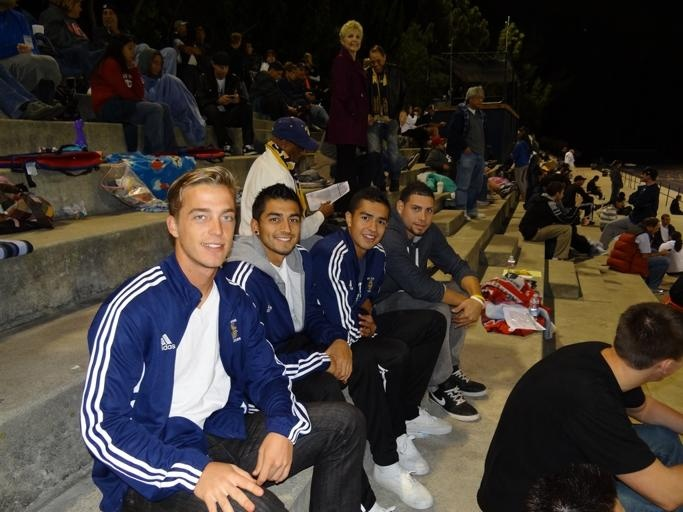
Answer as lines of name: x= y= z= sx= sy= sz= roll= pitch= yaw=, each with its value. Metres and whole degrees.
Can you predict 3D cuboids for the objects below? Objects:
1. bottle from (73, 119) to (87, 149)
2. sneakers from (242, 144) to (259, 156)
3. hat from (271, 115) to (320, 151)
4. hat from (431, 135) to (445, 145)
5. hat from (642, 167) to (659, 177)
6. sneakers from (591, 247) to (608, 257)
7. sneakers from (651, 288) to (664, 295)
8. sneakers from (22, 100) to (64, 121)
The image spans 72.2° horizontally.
bottle: x=-2.690 y=-1.234 z=4.708 sx=0.109 sy=0.269 sz=0.814 roll=-8 pitch=18 yaw=-28
sneakers: x=-1.518 y=-1.731 z=7.659 sx=0.151 sy=0.188 sz=0.416 roll=-8 pitch=8 yaw=-36
hat: x=-0.485 y=-1.218 z=4.655 sx=0.410 sy=0.246 sz=0.271 roll=12 pitch=32 yaw=-23
hat: x=2.549 y=-3.022 z=12.299 sx=0.328 sy=0.185 sz=0.674 roll=-1 pitch=16 yaw=-10
hat: x=8.095 y=-2.142 z=12.097 sx=0.277 sy=0.239 sz=0.537 roll=11 pitch=19 yaw=31
sneakers: x=6.017 y=-0.124 z=10.840 sx=0.280 sy=0.139 sz=0.335 roll=-11 pitch=1 yaw=-43
sneakers: x=6.764 y=0.738 z=9.905 sx=0.299 sy=0.132 sz=0.100 roll=2 pitch=6 yaw=-21
sneakers: x=-3.015 y=-1.412 z=4.632 sx=0.261 sy=0.120 sz=0.221 roll=-9 pitch=13 yaw=-36
